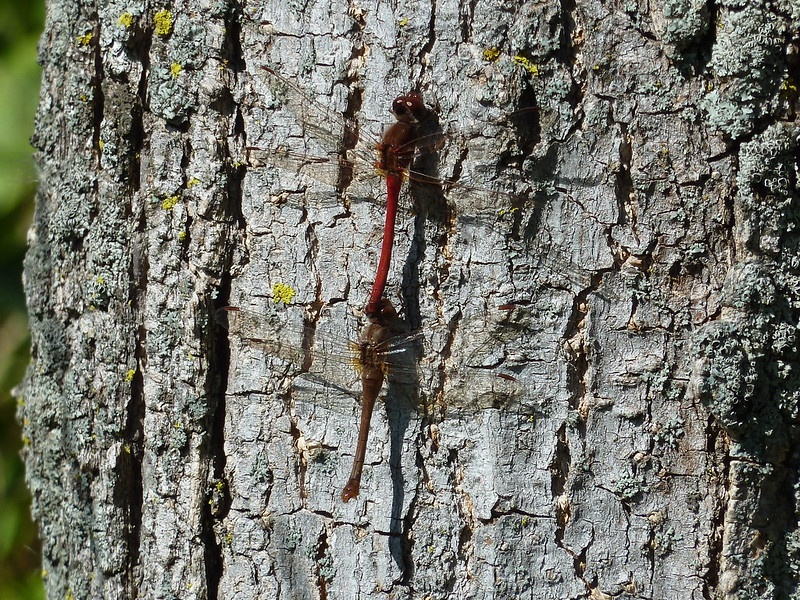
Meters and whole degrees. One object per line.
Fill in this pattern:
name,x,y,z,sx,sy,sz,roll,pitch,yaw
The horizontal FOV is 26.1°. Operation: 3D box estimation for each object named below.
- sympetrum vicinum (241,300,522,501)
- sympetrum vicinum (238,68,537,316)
sympetrum vicinum,0.003,0.306,6.576,0.894,0.850,0.213,2,1,3
sympetrum vicinum,-0.005,-0.394,6.490,0.908,0.275,0.871,12,74,19
